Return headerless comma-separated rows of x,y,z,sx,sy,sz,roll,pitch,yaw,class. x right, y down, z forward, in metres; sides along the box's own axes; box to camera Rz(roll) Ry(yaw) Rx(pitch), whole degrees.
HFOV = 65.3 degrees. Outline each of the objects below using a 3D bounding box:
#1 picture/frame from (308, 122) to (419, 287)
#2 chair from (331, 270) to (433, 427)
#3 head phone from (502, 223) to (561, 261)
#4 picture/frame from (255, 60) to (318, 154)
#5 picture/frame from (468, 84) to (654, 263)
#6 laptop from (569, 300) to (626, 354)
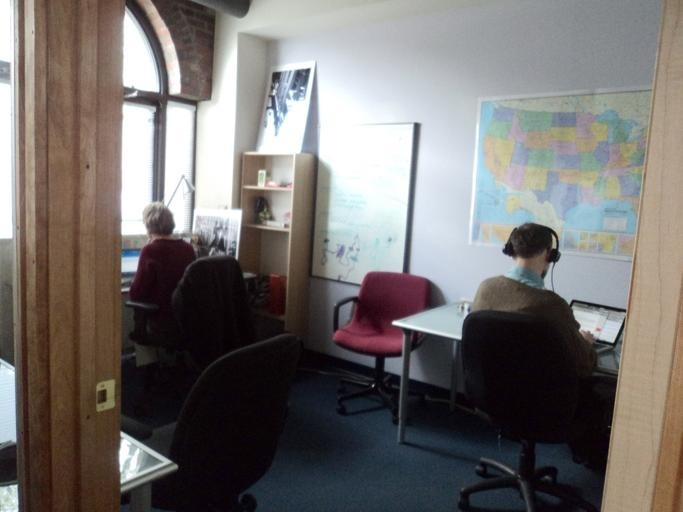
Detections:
0.197,-0.408,4.086,1.126,1.612,0.056,7,5,41,picture/frame
0.272,0.610,3.706,0.656,0.892,0.674,-4,9,-41,chair
0.954,-0.011,2.646,0.279,0.134,0.340,2,-36,24,head phone
-0.453,-1.245,4.483,0.738,1.026,0.048,9,-5,36,picture/frame
1.282,-0.492,3.059,1.047,0.919,0.017,6,7,38,picture/frame
1.360,0.380,2.895,0.262,0.209,0.302,-5,13,-40,laptop
